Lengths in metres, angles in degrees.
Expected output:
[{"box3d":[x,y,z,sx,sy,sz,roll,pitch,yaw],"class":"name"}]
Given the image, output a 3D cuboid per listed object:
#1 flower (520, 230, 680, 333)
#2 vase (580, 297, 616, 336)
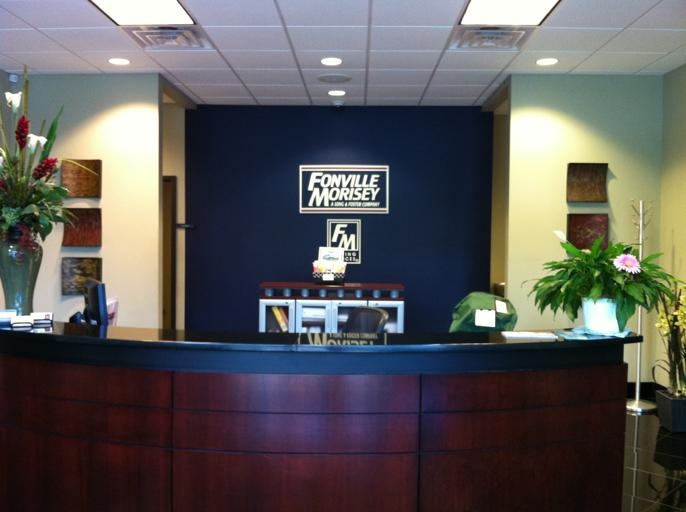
[{"box3d":[1.871,0.164,3.950,0.947,0.608,0.937,2,-7,-33],"class":"flower"},{"box3d":[1.734,0.399,3.853,0.253,0.241,0.275,2,1,-1],"class":"vase"}]
